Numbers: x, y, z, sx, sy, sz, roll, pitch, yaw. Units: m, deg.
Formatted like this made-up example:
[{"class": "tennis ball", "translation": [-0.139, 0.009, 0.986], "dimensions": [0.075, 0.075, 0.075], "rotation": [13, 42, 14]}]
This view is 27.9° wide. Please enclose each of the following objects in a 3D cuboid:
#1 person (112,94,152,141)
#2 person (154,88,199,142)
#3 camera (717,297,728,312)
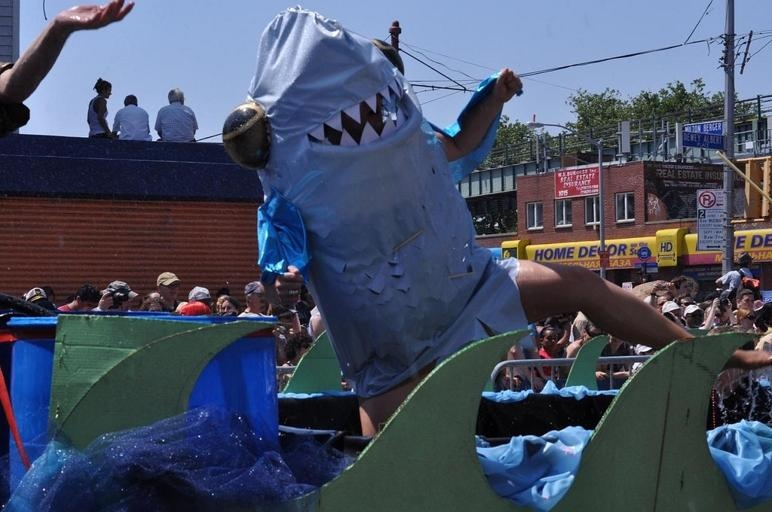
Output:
[{"class": "person", "translation": [-4.174, -2.146, 25.358], "dimensions": [0.614, 0.900, 0.651], "rotation": [1, -5, -23]}, {"class": "person", "translation": [-3.428, -2.198, 25.251], "dimensions": [0.649, 0.907, 0.654], "rotation": [-1, 5, -9]}, {"class": "camera", "translation": [4.712, 0.683, 21.774], "dimensions": [0.118, 0.160, 0.133], "rotation": [0, -1, 1]}]
